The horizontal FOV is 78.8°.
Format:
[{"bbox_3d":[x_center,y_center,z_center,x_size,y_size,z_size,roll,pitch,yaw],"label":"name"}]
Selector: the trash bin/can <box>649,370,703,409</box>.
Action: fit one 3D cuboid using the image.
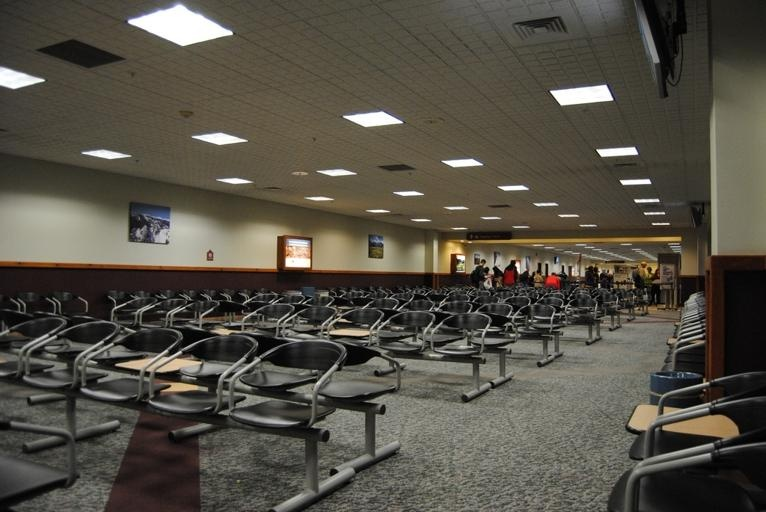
[{"bbox_3d":[2.251,1.037,3.569,0.328,0.252,0.711,0,-3,32],"label":"trash bin/can"}]
